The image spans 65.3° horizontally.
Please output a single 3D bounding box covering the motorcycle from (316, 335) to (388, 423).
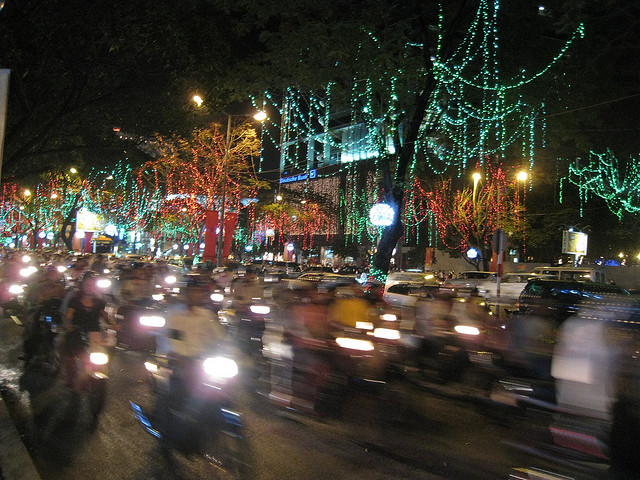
[{"bbox_3d":[0.439,1.993,7.192,1.014,1.061,0.500,0,7,12],"label":"motorcycle"}]

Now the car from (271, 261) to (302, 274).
[{"bbox_3d":[-2.729,1.988,37.995,1.243,1.010,2.054,0,4,11],"label":"car"}]

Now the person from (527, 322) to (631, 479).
[{"bbox_3d":[2.489,1.553,4.759,0.631,1.400,0.719,0,7,16],"label":"person"}]

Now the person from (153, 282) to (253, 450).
[{"bbox_3d":[-1.930,1.795,7.358,1.572,2.541,0.869,-3,34,-39],"label":"person"}]

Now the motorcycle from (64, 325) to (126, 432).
[{"bbox_3d":[-3.651,2.042,7.918,0.571,1.152,1.094,-6,7,-31],"label":"motorcycle"}]

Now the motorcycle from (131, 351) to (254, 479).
[{"bbox_3d":[-1.654,2.290,6.680,1.564,1.321,0.370,3,-17,-3],"label":"motorcycle"}]

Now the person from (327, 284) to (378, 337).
[{"bbox_3d":[0.433,1.087,7.790,0.526,0.238,0.721,12,31,21],"label":"person"}]
